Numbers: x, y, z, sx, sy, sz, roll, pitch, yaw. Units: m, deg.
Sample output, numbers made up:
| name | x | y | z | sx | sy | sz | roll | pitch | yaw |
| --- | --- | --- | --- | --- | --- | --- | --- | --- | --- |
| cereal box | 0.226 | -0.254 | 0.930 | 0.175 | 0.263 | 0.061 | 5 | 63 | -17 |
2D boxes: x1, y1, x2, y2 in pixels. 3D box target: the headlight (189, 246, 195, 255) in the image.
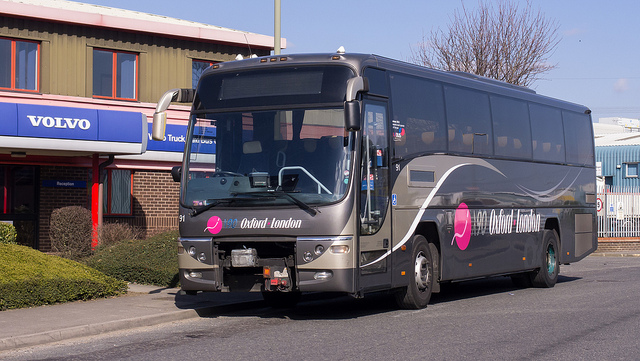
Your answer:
| name | x | y | z | sx | sy | sz | roll | pitch | yaw |
| --- | --- | --- | --- | --- | --- | --- | --- | --- | --- |
| headlight | -3.121 | 1.705 | 13.711 | 0.169 | 0.167 | 0.040 | 4 | 10 | 21 |

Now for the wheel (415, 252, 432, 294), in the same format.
| name | x | y | z | sx | sy | sz | roll | pitch | yaw |
| --- | --- | --- | --- | --- | --- | --- | --- | --- | --- |
| wheel | 2.678 | 2.477 | 14.846 | 0.299 | 0.890 | 0.780 | 1 | -2 | 25 |

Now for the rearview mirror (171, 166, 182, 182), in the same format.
| name | x | y | z | sx | sy | sz | roll | pitch | yaw |
| --- | --- | --- | --- | --- | --- | --- | --- | --- | --- |
| rearview mirror | -3.727 | -0.185 | 14.623 | 0.297 | 0.381 | 0.404 | 0 | 2 | 31 |
